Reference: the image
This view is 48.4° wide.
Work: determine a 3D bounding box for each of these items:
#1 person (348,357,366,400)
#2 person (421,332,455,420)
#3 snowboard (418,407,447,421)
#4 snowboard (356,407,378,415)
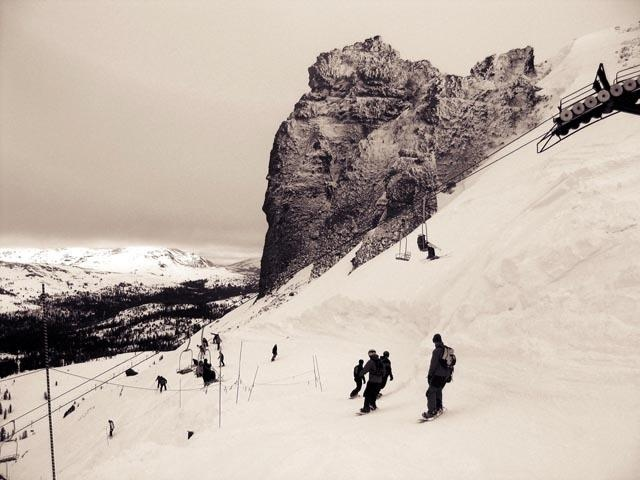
[{"bbox_3d":[2.061,7.852,39.621,0.791,0.768,2.644,-1,-50,-14],"label":"person"},{"bbox_3d":[5.967,6.991,36.028,1.461,4.379,1.167,-1,-1,9],"label":"person"},{"bbox_3d":[5.626,8.761,35.965,1.822,0.492,0.211,-9,-26,-30],"label":"snowboard"},{"bbox_3d":[2.393,9.034,37.417,0.988,0.460,0.346,-2,-7,3],"label":"snowboard"}]
